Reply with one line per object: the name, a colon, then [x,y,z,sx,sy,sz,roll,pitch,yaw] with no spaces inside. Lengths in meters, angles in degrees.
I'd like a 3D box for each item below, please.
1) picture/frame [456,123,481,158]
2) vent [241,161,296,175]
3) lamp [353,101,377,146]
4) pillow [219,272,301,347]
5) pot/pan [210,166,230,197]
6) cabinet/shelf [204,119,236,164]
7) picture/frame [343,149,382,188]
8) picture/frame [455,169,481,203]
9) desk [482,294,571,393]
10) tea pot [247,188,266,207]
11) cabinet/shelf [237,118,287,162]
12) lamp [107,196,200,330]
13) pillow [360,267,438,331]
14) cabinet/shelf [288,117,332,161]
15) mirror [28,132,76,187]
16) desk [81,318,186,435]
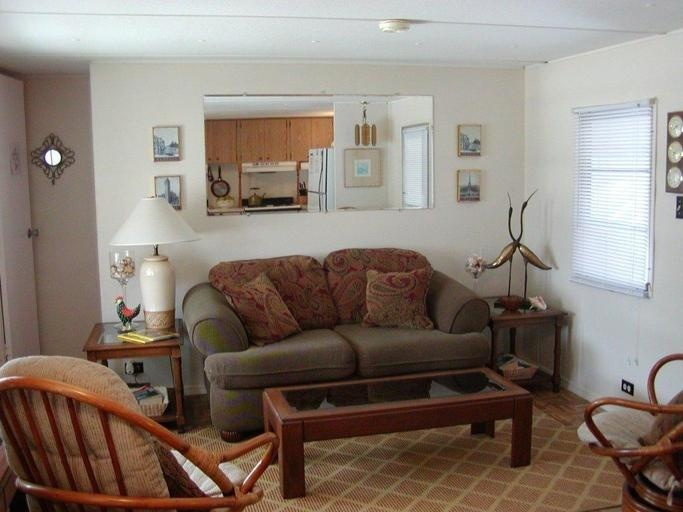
picture/frame: [1.166,-1.089,4.921,0.326,0.398,0.032,0,3,-22]
vent: [-0.636,-0.788,4.682,0.486,0.103,0.092,-2,10,-11]
lamp: [0.180,-1.195,4.784,0.246,0.376,0.244,-11,24,-44]
pillow: [-0.606,0.401,3.979,0.482,0.484,0.143,-17,-19,-48]
pot/pan: [-1.058,-0.651,4.569,0.155,0.263,0.036,-4,6,-18]
cabinet/shelf: [-1.076,-1.027,4.657,0.280,0.379,0.205,-6,17,-29]
picture/frame: [0.186,-0.800,4.781,0.364,0.350,0.019,-5,10,-19]
picture/frame: [1.170,-0.669,4.960,0.312,0.406,0.041,0,3,-17]
desk: [1.706,0.773,4.747,0.719,0.600,0.732,-2,4,42]
tea pot: [-0.745,-0.524,4.630,0.181,0.178,0.110,1,1,-22]
cabinet/shelf: [-0.694,-1.024,4.767,0.446,0.397,0.172,-1,-6,-1]
lamp: [-1.427,0.050,4.122,0.627,0.966,0.655,-1,6,42]
pillow: [0.463,0.369,4.295,0.446,0.407,0.190,1,-18,3]
cabinet/shelf: [-0.252,-1.048,4.778,0.409,0.394,0.152,1,5,13]
mirror: [-2.634,-0.895,4.791,0.479,0.605,0.053,-1,12,-13]
desk: [-1.553,0.944,4.076,0.753,0.633,0.726,-2,1,-25]
